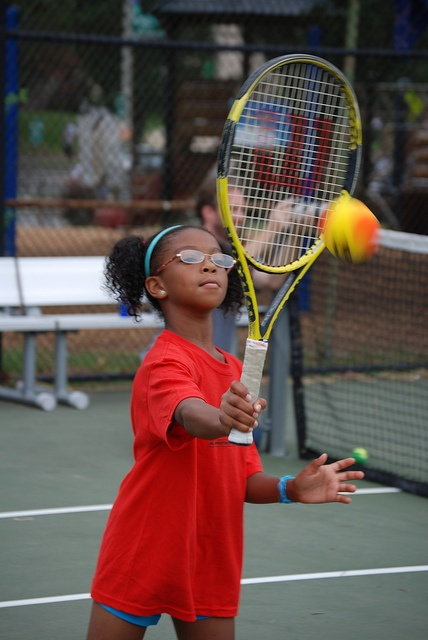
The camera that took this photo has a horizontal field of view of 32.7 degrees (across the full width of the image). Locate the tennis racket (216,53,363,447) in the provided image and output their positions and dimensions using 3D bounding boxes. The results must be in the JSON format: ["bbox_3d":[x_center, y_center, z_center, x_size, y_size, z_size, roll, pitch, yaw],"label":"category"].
[{"bbox_3d":[0.121,-0.121,1.797,0.407,1.091,0.428,1,3,-8],"label":"tennis racket"}]

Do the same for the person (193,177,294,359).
[{"bbox_3d":[0.121,-0.323,3.831,0.357,1.122,0.369,3,2,-3],"label":"person"}]

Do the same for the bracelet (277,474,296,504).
[{"bbox_3d":[0.164,0.372,1.599,0.026,0.056,0.045,0,-5,21],"label":"bracelet"}]
